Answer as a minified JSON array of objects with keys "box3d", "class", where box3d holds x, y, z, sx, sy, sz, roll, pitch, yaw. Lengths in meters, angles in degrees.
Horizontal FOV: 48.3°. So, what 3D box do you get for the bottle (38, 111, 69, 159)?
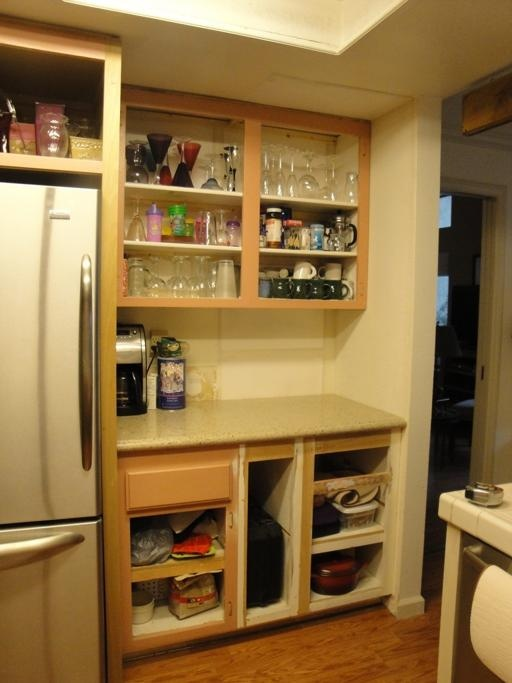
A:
[{"box3d":[-0.635,-0.656,1.779,0.099,0.177,0.107,1,6,0],"class":"bottle"}]
